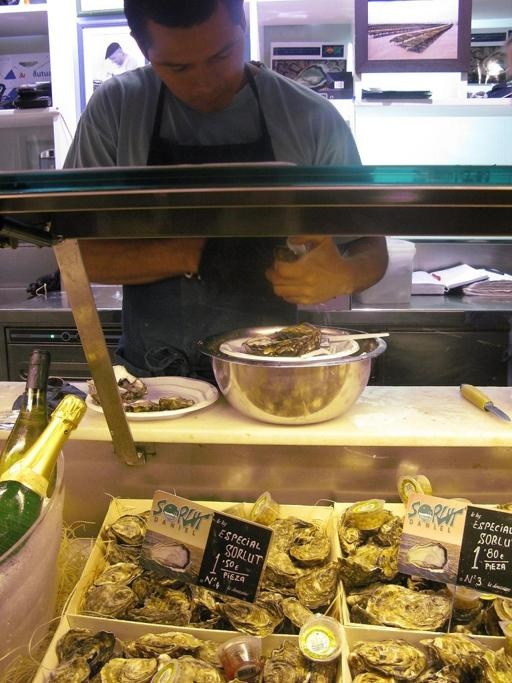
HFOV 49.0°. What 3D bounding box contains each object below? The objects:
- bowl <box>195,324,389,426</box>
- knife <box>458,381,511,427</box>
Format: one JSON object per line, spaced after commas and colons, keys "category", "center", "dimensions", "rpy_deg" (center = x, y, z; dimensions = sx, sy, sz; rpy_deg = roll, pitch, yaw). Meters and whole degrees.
{"category": "bowl", "center": [0.071, 0.071, 0.919], "dimensions": [0.289, 0.114, 0.282], "rpy_deg": [0, 3, 0]}
{"category": "knife", "center": [0.381, 0.102, 0.930], "dimensions": [0.018, 0.018, 0.101], "rpy_deg": [30, 11, -22]}
